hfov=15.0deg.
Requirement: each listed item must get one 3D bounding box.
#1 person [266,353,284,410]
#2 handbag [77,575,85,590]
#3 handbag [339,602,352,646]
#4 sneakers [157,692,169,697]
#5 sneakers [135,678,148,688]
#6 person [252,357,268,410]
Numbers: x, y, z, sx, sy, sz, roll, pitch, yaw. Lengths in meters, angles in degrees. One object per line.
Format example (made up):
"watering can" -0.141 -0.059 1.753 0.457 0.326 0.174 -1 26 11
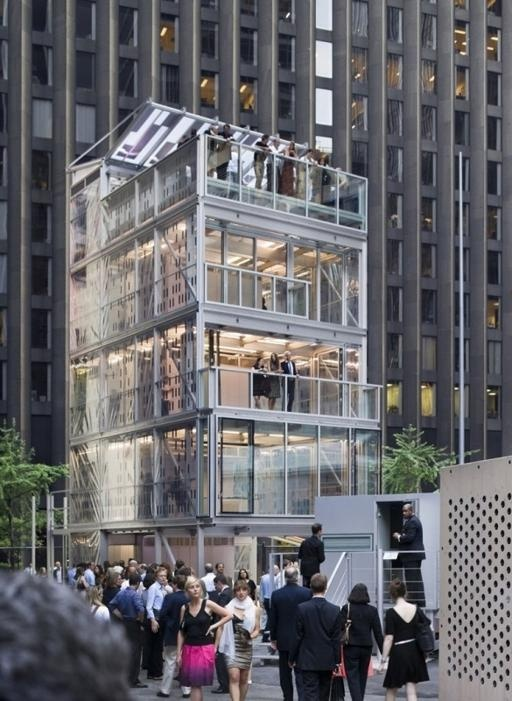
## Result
"person" 0.511 0.813 52.579 0.388 1.585 1.035 -1 -5 1
"handbag" -4.132 5.498 46.204 0.060 0.327 0.177 6 -3 -44
"handbag" 1.795 5.387 38.259 0.126 0.709 0.343 4 -1 -4
"sneakers" -1.937 7.212 40.824 0.230 0.122 0.358 -1 -7 -3
"sneakers" -2.478 7.196 42.089 0.305 0.160 0.106 2 3 -42
"person" 0.132 0.877 52.221 0.439 1.398 0.945 -1 -5 0
